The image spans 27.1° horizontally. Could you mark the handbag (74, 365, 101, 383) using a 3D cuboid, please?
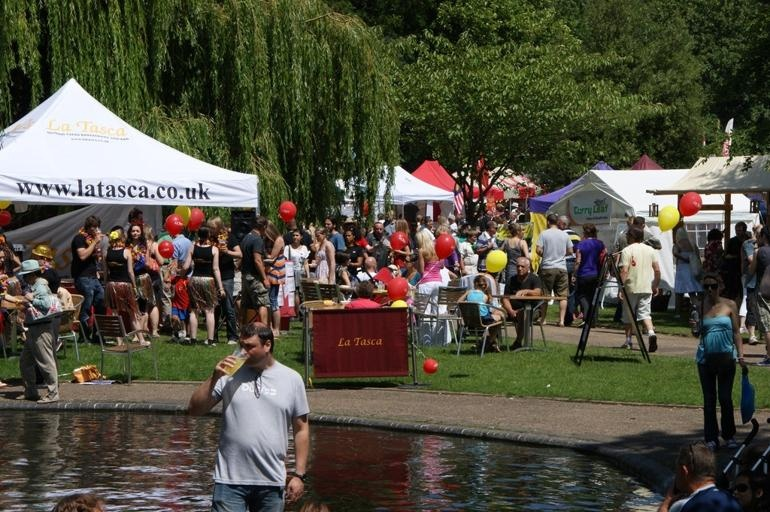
[{"bbox_3d":[-6.392,2.534,34.434,0.355,0.193,0.430,2,2,21],"label":"handbag"}]

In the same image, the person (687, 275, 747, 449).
[{"bbox_3d":[6.336,1.956,30.115,0.842,3.233,0.710,-2,1,-39],"label":"person"}]

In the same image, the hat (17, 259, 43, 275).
[{"bbox_3d":[-7.307,0.237,32.794,0.330,0.204,0.426,-7,-2,-34],"label":"hat"}]

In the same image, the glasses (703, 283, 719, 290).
[{"bbox_3d":[6.163,0.557,29.970,0.264,0.114,0.074,-1,1,11],"label":"glasses"}]

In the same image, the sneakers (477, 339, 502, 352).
[{"bbox_3d":[2.464,2.035,36.567,0.633,0.323,0.247,-1,1,-7],"label":"sneakers"}]

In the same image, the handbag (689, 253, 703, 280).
[{"bbox_3d":[7.835,0.268,40.099,0.162,0.489,0.387,-12,41,12],"label":"handbag"}]

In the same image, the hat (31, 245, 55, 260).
[{"bbox_3d":[-7.623,-0.110,35.479,0.427,0.190,0.443,23,14,31],"label":"hat"}]

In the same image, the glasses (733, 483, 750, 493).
[{"bbox_3d":[6.021,3.895,26.860,0.152,0.127,0.154,3,3,38],"label":"glasses"}]

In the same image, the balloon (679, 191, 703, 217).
[{"bbox_3d":[7.569,-1.328,39.421,0.360,0.498,0.396,25,23,6],"label":"balloon"}]

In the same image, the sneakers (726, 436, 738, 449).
[{"bbox_3d":[6.554,3.501,30.080,0.145,0.210,0.458,-2,-8,6],"label":"sneakers"}]

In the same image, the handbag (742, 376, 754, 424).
[{"bbox_3d":[6.816,2.687,29.932,0.232,1.007,1.310,0,1,12],"label":"handbag"}]

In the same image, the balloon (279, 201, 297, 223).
[{"bbox_3d":[-2.384,-1.120,39.811,0.443,0.608,0.463,11,7,27],"label":"balloon"}]

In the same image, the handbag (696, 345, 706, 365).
[{"bbox_3d":[6.000,1.838,30.011,0.076,0.328,0.218,8,4,-7],"label":"handbag"}]
